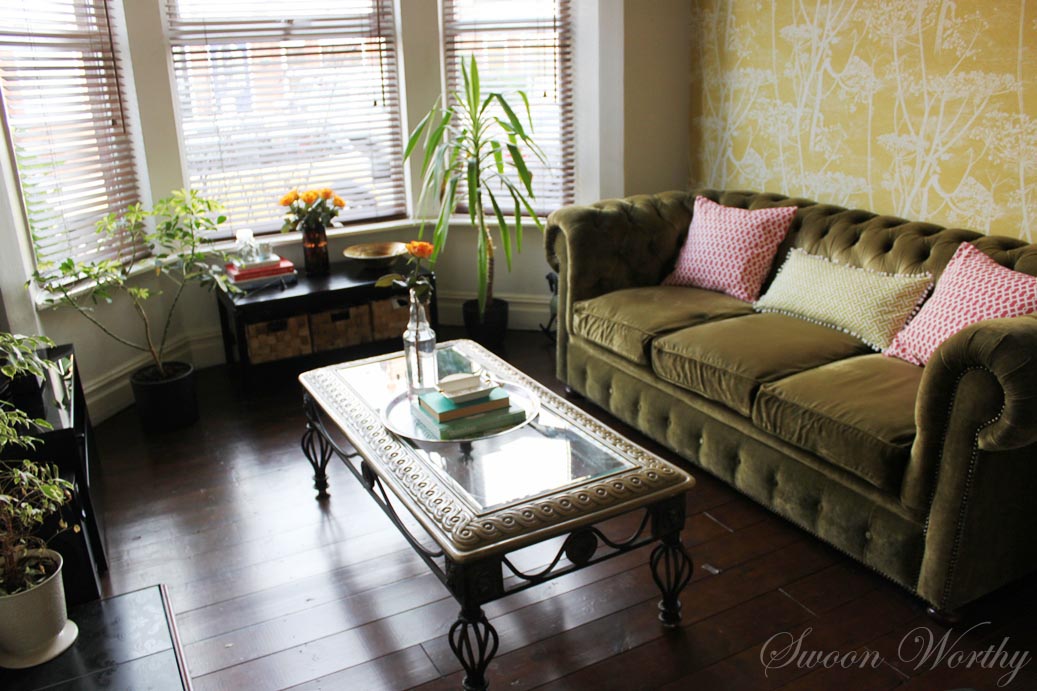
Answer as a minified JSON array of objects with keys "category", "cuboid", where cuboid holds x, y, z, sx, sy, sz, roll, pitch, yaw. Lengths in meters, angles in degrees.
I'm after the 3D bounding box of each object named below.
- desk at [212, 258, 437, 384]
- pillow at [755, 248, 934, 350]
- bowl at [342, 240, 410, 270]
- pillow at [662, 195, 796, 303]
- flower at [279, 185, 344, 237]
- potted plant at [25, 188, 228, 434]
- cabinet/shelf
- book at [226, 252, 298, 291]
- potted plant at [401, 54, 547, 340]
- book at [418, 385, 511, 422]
[{"category":"desk","cuboid":[-1.136,-0.141,4.664,1.172,0.564,0.498,-13,25,-27]},{"category":"pillow","cuboid":[1.486,-0.222,3.472,0.186,0.428,0.666,31,-6,-34]},{"category":"bowl","cuboid":[-0.874,-0.571,4.704,0.253,0.065,0.247,0,25,0]},{"category":"pillow","cuboid":[1.106,-0.495,3.955,0.178,0.538,0.566,17,3,-45]},{"category":"flower","cuboid":[-1.213,-0.769,4.560,0.349,0.227,0.346,-1,6,4]},{"category":"potted plant","cuboid":[-2.102,-0.194,4.018,0.732,1.128,0.982,14,24,20]},{"category":"cabinet/shelf","cuboid":[-1.791,0.512,2.918,0.277,0.521,0.844,-7,33,-13]},{"category":"book","cuboid":[-1.489,-0.418,4.418,0.261,0.064,0.261,-15,25,-40]},{"category":"potted plant","cuboid":[-0.221,-0.956,4.700,0.887,1.580,1.078,-5,25,-7]},{"category":"book","cuboid":[-0.209,0.230,2.943,0.190,0.044,0.188,-11,21,-28]}]
